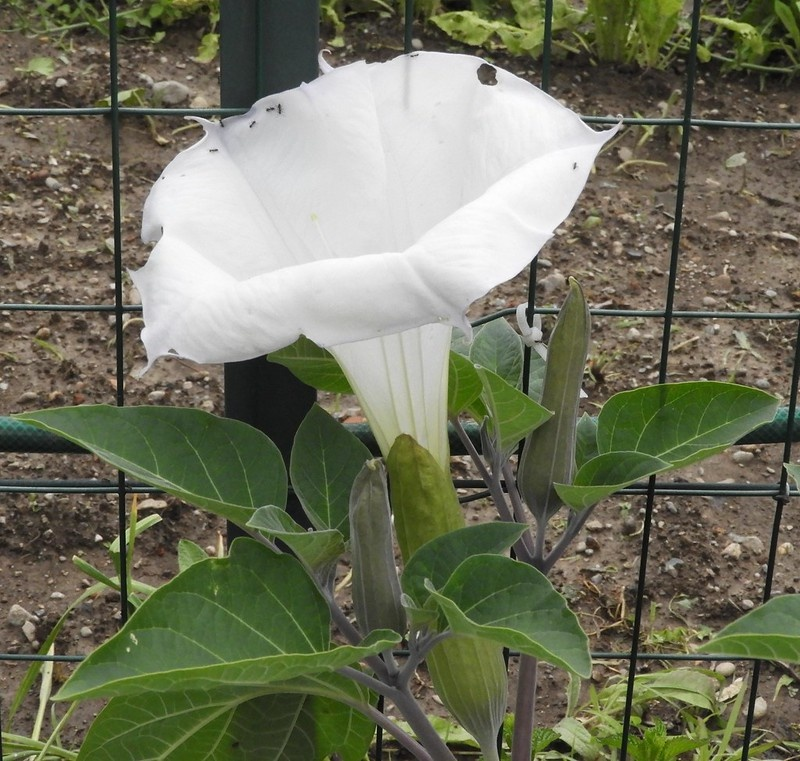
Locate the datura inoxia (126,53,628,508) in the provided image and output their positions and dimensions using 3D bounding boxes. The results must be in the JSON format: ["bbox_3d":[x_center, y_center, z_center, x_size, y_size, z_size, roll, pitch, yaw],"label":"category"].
[{"bbox_3d":[-0.078,-0.132,2.876,0.618,0.490,0.580,32,65,35],"label":"datura inoxia"}]
